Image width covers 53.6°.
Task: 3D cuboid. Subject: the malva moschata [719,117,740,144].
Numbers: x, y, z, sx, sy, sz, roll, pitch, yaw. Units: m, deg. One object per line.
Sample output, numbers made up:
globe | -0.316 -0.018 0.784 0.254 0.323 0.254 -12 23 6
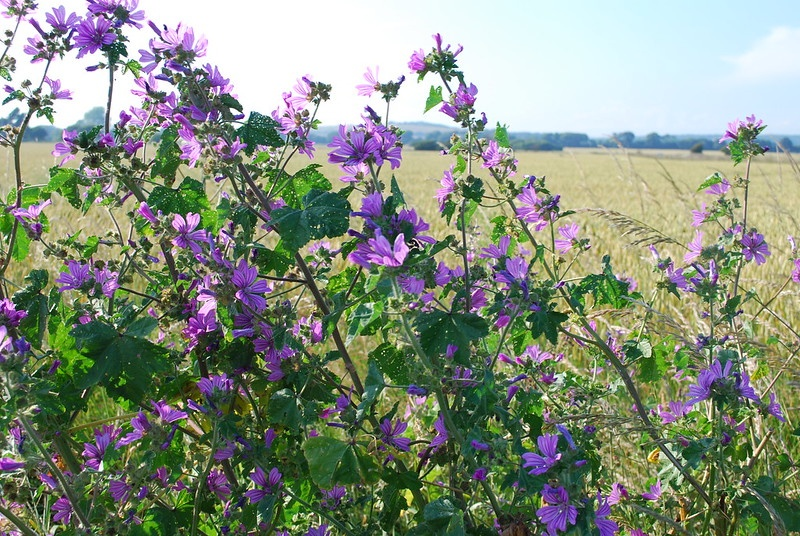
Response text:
malva moschata | 1.608 -0.656 3.869 0.104 0.114 0.440 -12 1 24

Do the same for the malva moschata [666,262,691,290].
malva moschata | 1.279 0.048 3.654 0.103 0.130 0.033 -17 7 -40
